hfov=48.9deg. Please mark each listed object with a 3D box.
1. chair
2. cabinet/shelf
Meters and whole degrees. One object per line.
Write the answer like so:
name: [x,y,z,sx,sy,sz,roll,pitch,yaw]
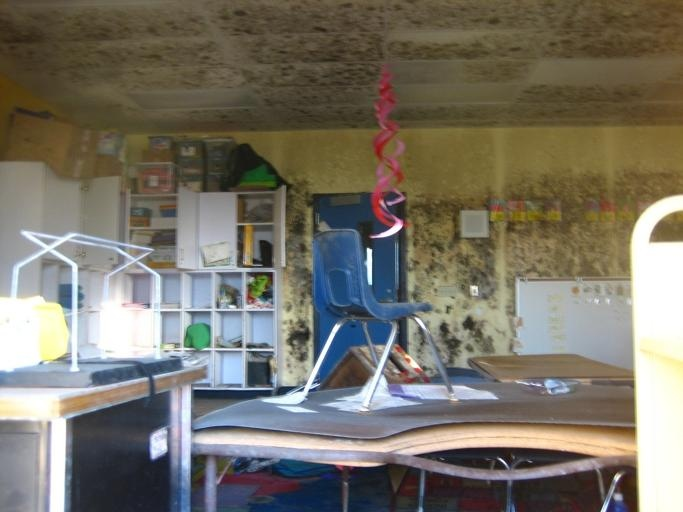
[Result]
chair: [0.233,0.360,4.477,0.876,0.922,0.895,0,-2,18]
cabinet/shelf: [-1.443,0.387,8.219,1.679,1.986,0.594,0,1,2]
